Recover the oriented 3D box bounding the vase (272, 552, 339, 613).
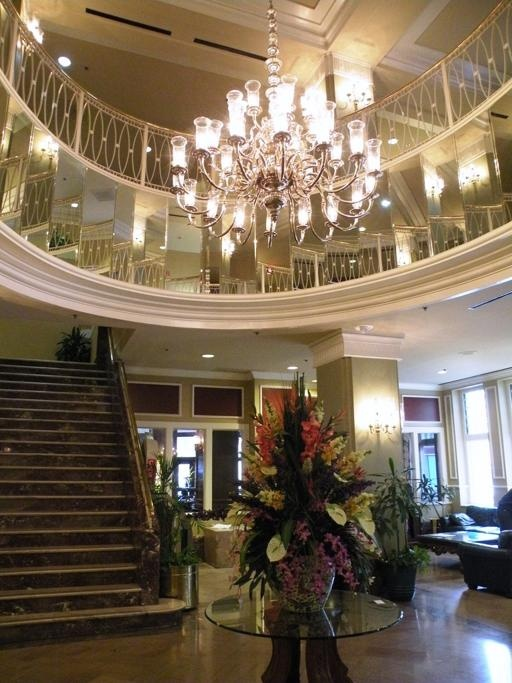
[{"bbox_3d":[0.176,0.869,1.699,0.208,0.263,0.282,-3,-11,2],"label":"vase"}]

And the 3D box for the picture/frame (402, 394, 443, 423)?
[{"bbox_3d":[4.378,1.782,12.362,1.216,0.733,0.117,3,-12,-27],"label":"picture/frame"}]

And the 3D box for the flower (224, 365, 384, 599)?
[{"bbox_3d":[0.163,0.520,2.110,0.702,1.054,0.748,-2,1,-29],"label":"flower"}]

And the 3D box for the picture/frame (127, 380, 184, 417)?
[{"bbox_3d":[-2.100,1.163,9.625,1.008,0.666,0.071,5,-16,-33],"label":"picture/frame"}]

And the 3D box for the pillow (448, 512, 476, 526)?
[{"bbox_3d":[4.431,3.806,10.073,0.330,0.122,0.294,5,2,-25],"label":"pillow"}]
